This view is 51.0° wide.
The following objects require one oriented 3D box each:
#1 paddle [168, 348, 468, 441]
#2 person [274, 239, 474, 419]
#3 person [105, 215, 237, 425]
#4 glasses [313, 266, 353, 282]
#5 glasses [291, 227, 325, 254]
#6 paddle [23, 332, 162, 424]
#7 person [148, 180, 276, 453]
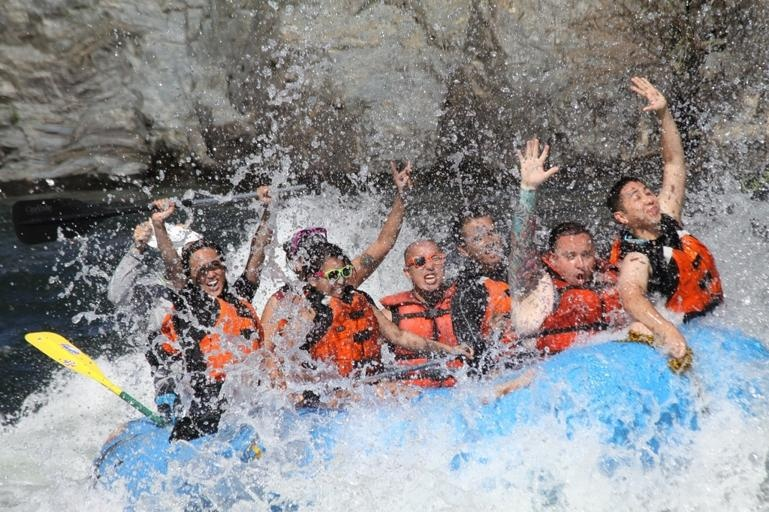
[{"bbox_3d":[-0.657,1.201,6.842,1.339,0.379,0.308,-14,-16,-7],"label":"paddle"},{"bbox_3d":[-0.100,0.697,7.143,0.549,1.346,1.067,-26,-4,38],"label":"person"},{"bbox_3d":[-2.077,0.587,7.369,0.964,1.729,0.467,0,-8,-1],"label":"person"},{"bbox_3d":[-0.438,0.154,7.031,0.334,0.103,0.093,-11,27,-9],"label":"glasses"},{"bbox_3d":[-0.690,-0.130,7.229,0.214,0.113,0.278,-22,-8,-47],"label":"glasses"},{"bbox_3d":[-2.932,1.236,8.015,1.425,0.114,0.217,36,62,15],"label":"paddle"},{"bbox_3d":[-1.363,0.776,7.419,1.008,2.964,0.605,-8,27,-3],"label":"person"}]
